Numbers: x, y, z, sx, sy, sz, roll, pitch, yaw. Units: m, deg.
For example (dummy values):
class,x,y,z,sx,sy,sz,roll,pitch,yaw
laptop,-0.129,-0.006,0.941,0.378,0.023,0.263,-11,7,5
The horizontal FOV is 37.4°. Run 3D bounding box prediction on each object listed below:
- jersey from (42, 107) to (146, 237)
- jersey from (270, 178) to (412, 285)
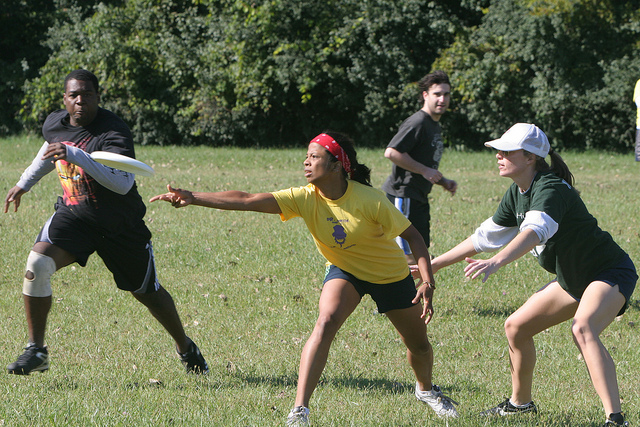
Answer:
class,x,y,z,sx,sy,sz,roll,pitch,yaw
jersey,-3.414,-0.643,14.321,1.503,1.910,0.562,5,7,8
jersey,0.170,0.330,14.025,2.628,1.418,1.516,-1,-9,-34
